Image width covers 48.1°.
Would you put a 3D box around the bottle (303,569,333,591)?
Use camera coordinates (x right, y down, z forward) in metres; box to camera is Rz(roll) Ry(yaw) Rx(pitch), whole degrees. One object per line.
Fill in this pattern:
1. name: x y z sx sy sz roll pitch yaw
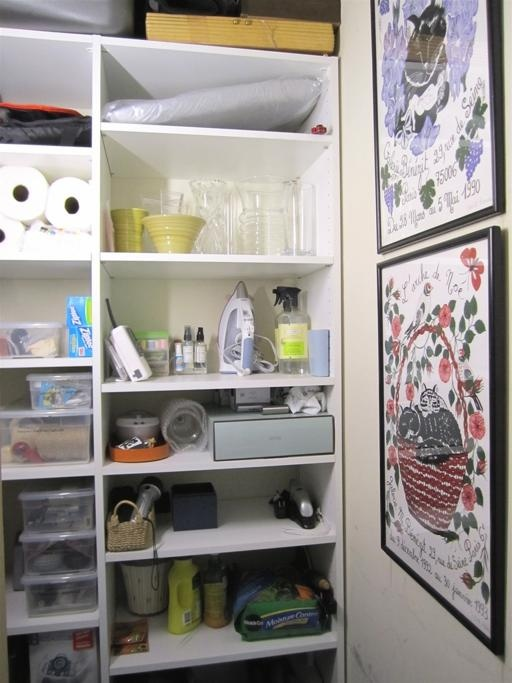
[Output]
1. bottle: 0.190 0.711 1.699 0.029 0.035 0.103 12 -18 -16

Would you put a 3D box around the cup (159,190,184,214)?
1. cup: -0.241 -0.390 1.647 0.068 0.080 0.187 -1 4 -10

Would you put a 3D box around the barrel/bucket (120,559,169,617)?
1. barrel/bucket: -0.315 0.718 1.695 0.147 0.138 0.154 -1 -10 0

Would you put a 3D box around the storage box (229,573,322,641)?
1. storage box: 0.059 0.770 1.658 0.246 0.104 0.184 -1 4 -12

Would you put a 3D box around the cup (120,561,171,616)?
1. cup: -0.321 0.721 1.678 0.145 0.135 0.152 -1 -10 0

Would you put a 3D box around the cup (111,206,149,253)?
1. cup: -0.360 -0.316 1.676 0.106 0.134 0.114 -2 4 0

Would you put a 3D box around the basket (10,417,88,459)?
1. basket: -0.537 0.234 1.492 0.145 0.091 0.117 1 -6 -12

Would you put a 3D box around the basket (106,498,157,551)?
1. basket: -0.323 0.466 1.458 0.088 0.113 0.161 0 -13 -8

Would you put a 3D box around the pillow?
1. pillow: -0.113 -0.675 1.632 0.614 0.175 0.134 -1 3 -12

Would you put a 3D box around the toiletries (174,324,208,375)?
1. toiletries: -0.208 0.029 1.791 0.130 0.226 0.072 -1 2 -19

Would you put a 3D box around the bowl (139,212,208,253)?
1. bowl: -0.224 -0.299 1.591 0.151 0.121 0.124 -3 5 -43

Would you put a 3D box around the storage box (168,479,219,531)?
1. storage box: -0.187 0.489 1.722 0.132 0.106 0.155 -1 4 -12
